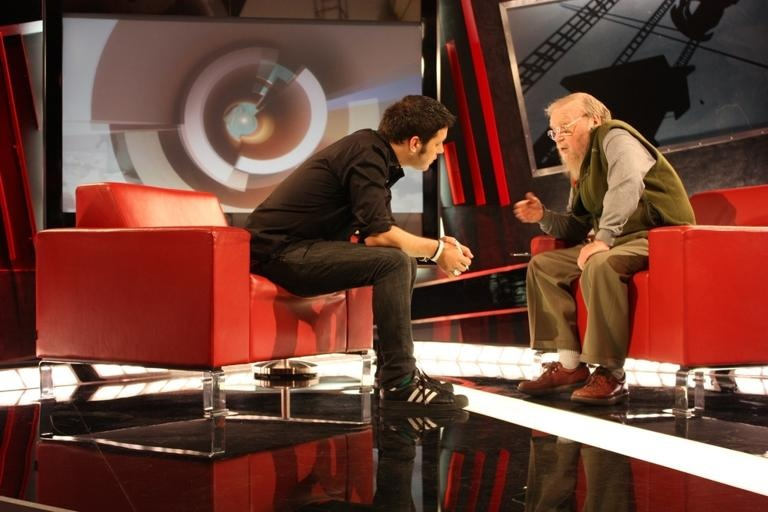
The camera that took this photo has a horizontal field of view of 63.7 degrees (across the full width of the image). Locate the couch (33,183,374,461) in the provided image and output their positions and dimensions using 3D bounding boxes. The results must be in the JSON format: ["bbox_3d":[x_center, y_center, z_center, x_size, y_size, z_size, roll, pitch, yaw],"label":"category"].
[{"bbox_3d":[-0.770,0.179,3.146,1.546,1.204,1.561,7,10,44],"label":"couch"}]

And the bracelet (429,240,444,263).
[{"bbox_3d":[0.251,-0.020,2.775,0.035,0.088,0.083,13,2,6],"label":"bracelet"}]

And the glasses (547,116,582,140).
[{"bbox_3d":[0.962,-0.681,3.238,0.131,0.039,0.108,-31,9,-28],"label":"glasses"}]

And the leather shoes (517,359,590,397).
[{"bbox_3d":[0.834,0.592,3.066,0.394,0.140,0.132,-2,19,-15],"label":"leather shoes"}]

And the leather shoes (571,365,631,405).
[{"bbox_3d":[1.005,0.593,2.835,0.347,0.151,0.161,2,1,-38],"label":"leather shoes"}]

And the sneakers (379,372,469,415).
[{"bbox_3d":[0.172,0.600,2.702,0.382,0.154,0.161,0,-4,-2],"label":"sneakers"}]

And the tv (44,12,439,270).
[{"bbox_3d":[-0.928,-1.031,4.532,2.531,1.325,0.031,-6,27,-33],"label":"tv"}]
